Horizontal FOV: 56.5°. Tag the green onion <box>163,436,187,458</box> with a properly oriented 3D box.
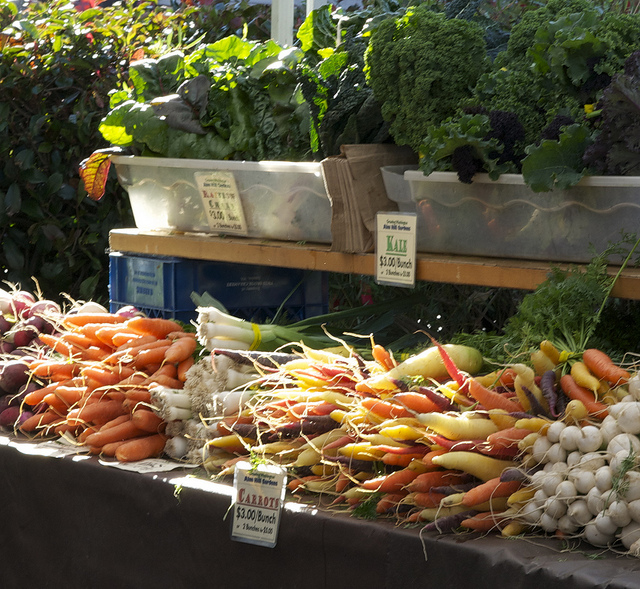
[{"bbox_3d":[-0.371,0.395,1.562,0.054,0.053,0.052,11,49,-9],"label":"green onion"}]

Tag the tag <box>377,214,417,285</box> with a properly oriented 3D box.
[{"bbox_3d":[0.205,-0.129,1.567,0.200,0.233,0.014,7,12,44],"label":"tag"}]

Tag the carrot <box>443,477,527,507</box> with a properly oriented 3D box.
[{"bbox_3d":[0.296,0.352,1.058,0.165,0.036,0.033,-13,-13,-19],"label":"carrot"}]

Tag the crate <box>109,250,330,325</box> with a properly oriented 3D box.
[{"bbox_3d":[-0.426,-0.032,2.235,0.578,0.200,0.403,2,-4,-38],"label":"crate"}]

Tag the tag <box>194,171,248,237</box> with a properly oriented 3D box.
[{"bbox_3d":[-0.309,-0.300,1.990,0.162,0.220,0.136,4,13,39],"label":"tag"}]

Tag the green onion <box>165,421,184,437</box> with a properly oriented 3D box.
[{"bbox_3d":[-0.382,0.346,1.567,0.054,0.042,0.013,12,4,19],"label":"green onion"}]

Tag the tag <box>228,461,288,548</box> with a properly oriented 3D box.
[{"bbox_3d":[-0.131,0.444,1.257,0.125,0.152,0.097,-1,8,12],"label":"tag"}]

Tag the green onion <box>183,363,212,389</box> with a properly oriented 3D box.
[{"bbox_3d":[-0.308,0.217,1.577,0.072,0.065,0.034,11,-14,36],"label":"green onion"}]

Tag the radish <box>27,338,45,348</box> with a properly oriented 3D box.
[{"bbox_3d":[-1.010,0.170,2.125,0.050,0.025,0.049,-5,-8,31],"label":"radish"}]

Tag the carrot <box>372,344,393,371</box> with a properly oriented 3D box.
[{"bbox_3d":[0.152,0.144,1.429,0.017,0.063,0.043,2,47,43],"label":"carrot"}]

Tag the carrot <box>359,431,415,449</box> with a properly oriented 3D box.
[{"bbox_3d":[0.135,0.295,1.206,0.109,0.026,0.035,2,8,31],"label":"carrot"}]

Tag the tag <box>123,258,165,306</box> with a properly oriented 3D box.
[{"bbox_3d":[-0.640,-0.051,2.152,0.241,0.161,0.024,4,11,41],"label":"tag"}]

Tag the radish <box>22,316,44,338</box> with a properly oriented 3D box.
[{"bbox_3d":[-1.021,0.111,2.133,0.069,0.072,0.041,-5,8,-22],"label":"radish"}]

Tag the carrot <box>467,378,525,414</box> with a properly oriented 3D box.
[{"bbox_3d":[0.337,0.207,1.235,0.150,0.036,0.037,23,47,11],"label":"carrot"}]

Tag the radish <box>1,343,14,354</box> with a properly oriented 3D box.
[{"bbox_3d":[-1.115,0.189,2.144,0.038,0.036,0.034,1,6,6],"label":"radish"}]

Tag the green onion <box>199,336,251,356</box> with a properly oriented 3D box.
[{"bbox_3d":[-0.261,0.133,1.660,0.057,0.058,0.143,2,7,30],"label":"green onion"}]

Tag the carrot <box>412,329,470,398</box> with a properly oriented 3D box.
[{"bbox_3d":[0.292,0.129,1.335,0.045,0.047,0.223,-25,54,-12],"label":"carrot"}]

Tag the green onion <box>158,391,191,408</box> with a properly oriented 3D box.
[{"bbox_3d":[-0.369,0.264,1.528,0.058,0.017,0.053,1,-3,-27],"label":"green onion"}]
